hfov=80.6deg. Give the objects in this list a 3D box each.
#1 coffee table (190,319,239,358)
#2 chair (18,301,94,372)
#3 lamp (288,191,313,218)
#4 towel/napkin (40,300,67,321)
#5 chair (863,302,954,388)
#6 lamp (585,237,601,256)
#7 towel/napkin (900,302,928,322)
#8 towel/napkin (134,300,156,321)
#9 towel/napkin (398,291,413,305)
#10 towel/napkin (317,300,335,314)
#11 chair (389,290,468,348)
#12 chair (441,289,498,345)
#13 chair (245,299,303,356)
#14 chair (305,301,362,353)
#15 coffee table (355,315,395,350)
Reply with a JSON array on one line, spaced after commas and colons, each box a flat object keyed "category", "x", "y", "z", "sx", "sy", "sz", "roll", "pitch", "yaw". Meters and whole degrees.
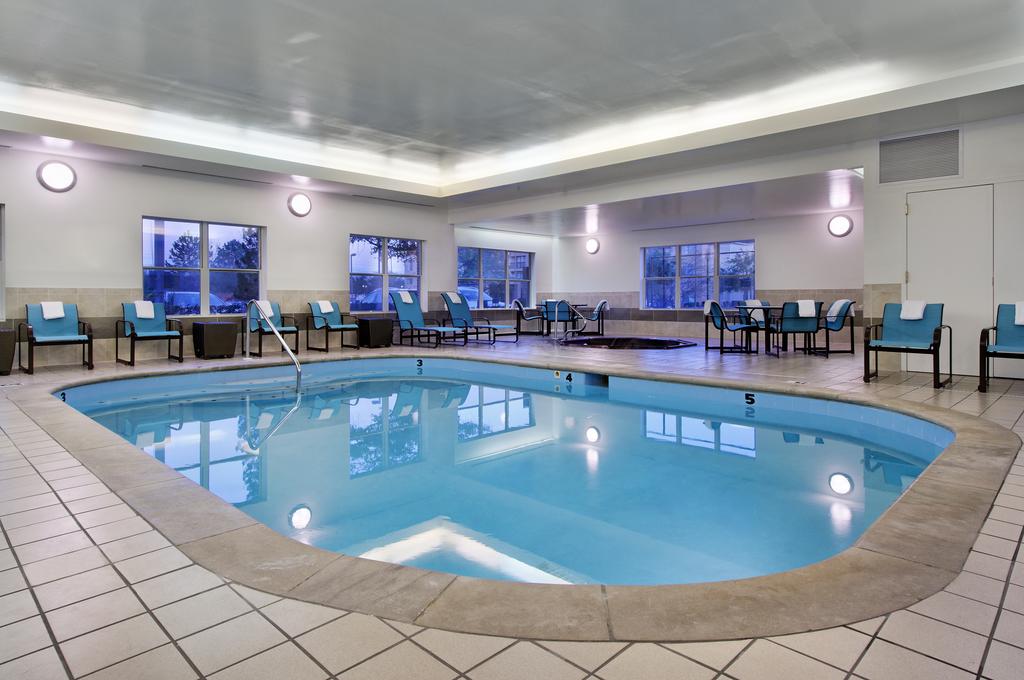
[{"category": "coffee table", "x": -4.796, "y": -0.022, "z": 9.955, "sx": 0.636, "sy": 0.650, "sz": 0.672, "roll": -1, "pitch": -2, "yaw": 39}, {"category": "chair", "x": -6.564, "y": -0.041, "z": 8.651, "sx": 0.818, "sy": 1.273, "sz": 1.040, "roll": 1, "pitch": 1, "yaw": 42}, {"category": "lamp", "x": -3.913, "y": -2.516, "z": 11.254, "sx": 0.104, "sy": 0.447, "sz": 0.496, "roll": 9, "pitch": 12, "yaw": 44}, {"category": "towel/napkin", "x": -6.503, "y": -0.413, "z": 8.571, "sx": 0.230, "sy": 0.278, "sz": 0.103, "roll": 0, "pitch": -17, "yaw": -35}, {"category": "chair", "x": 5.056, "y": 0.017, "z": 7.650, "sx": 0.926, "sy": 0.966, "sz": 1.435, "roll": 7, "pitch": 10, "yaw": 36}, {"category": "lamp", "x": 2.196, "y": -2.526, "z": 16.340, "sx": 0.123, "sy": 0.458, "sz": 0.524, "roll": -8, "pitch": 12, "yaw": -43}, {"category": "towel/napkin", "x": 5.046, "y": -0.370, "z": 7.608, "sx": 0.246, "sy": 0.214, "sz": 0.112, "roll": 6, "pitch": 10, "yaw": 32}, {"category": "towel/napkin", "x": -5.678, "y": -0.459, "z": 9.375, "sx": 0.278, "sy": 0.277, "sz": 0.156, "roll": -4, "pitch": 10, "yaw": -30}, {"category": "towel/napkin", "x": -2.092, "y": -0.852, "z": 12.050, "sx": 0.261, "sy": 0.239, "sz": 0.148, "roll": -3, "pitch": 9, "yaw": -21}, {"category": "towel/napkin", "x": -3.450, "y": -0.617, "z": 11.260, "sx": 0.284, "sy": 0.207, "sz": 0.162, "roll": -2, "pitch": 9, "yaw": -17}, {"category": "chair", "x": -1.790, "y": -0.422, "z": 12.285, "sx": 0.889, "sy": 1.108, "sz": 1.655, "roll": 0, "pitch": 0, "yaw": -45}, {"category": "chair", "x": -0.865, "y": -0.477, "z": 12.710, "sx": 1.472, "sy": 1.236, "sz": 0.818, "roll": -1, "pitch": -1, "yaw": 43}, {"category": "chair", "x": -4.074, "y": -0.224, "z": 10.268, "sx": 0.805, "sy": 1.021, "sz": 2.098, "roll": -3, "pitch": 9, "yaw": -22}, {"category": "chair", "x": -3.169, "y": -0.269, "z": 11.382, "sx": 0.877, "sy": 1.110, "sz": 1.070, "roll": -1, "pitch": 2, "yaw": -44}, {"category": "coffee table", "x": -2.611, "y": -0.148, "z": 11.530, "sx": 0.652, "sy": 0.597, "sz": 0.641, "roll": -1, "pitch": 2, "yaw": -8}]
